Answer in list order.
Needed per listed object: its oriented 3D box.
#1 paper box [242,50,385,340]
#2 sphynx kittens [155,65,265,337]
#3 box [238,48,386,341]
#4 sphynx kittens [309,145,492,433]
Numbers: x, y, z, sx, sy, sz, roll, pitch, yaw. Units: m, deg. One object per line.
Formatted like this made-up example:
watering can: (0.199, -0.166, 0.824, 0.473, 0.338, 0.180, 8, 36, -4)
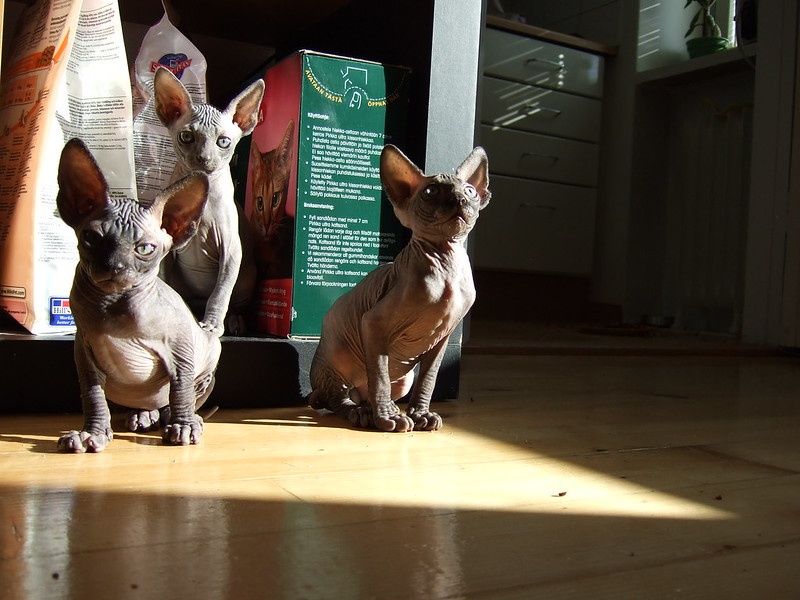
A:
paper box: (-0.178, -0.251, 1.669, 0.195, 0.573, 0.413, -2, 7, -28)
sphynx kittens: (-0.397, -0.213, 1.534, 0.213, 0.642, 0.236, -3, 11, -26)
box: (-0.175, -0.239, 1.652, 0.198, 0.573, 0.416, -2, 8, -28)
sphynx kittens: (-0.001, -0.038, 1.488, 0.350, 0.444, 0.242, 7, 3, 44)
